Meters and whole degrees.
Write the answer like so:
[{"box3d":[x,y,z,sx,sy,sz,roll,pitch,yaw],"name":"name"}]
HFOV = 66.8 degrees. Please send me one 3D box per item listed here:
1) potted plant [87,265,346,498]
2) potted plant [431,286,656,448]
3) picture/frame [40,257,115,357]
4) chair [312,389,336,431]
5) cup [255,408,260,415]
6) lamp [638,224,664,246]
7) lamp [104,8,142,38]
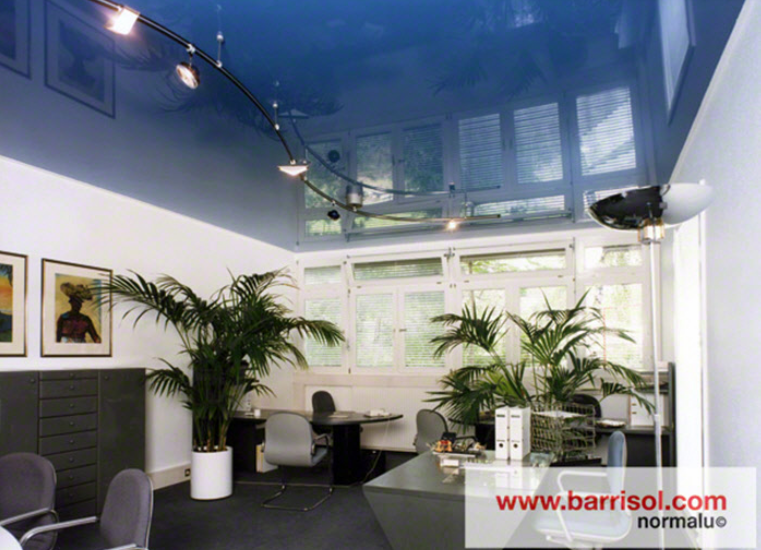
[{"box3d":[-1.795,0.856,7.253,2.984,3.042,2.400,3,-7,-27],"name":"potted plant"},{"box3d":[1.700,1.014,6.655,1.967,1.322,1.997,-5,-6,42],"name":"potted plant"},{"box3d":[-3.255,0.333,6.127,0.046,1.298,0.995,-5,-7,25],"name":"picture/frame"},{"box3d":[-0.746,1.824,7.993,0.404,0.588,0.404,6,-15,-31],"name":"chair"},{"box3d":[-1.602,1.774,7.507,0.055,0.074,0.076,-3,-4,9],"name":"cup"},{"box3d":[1.861,-0.284,4.040,0.165,0.173,0.125,1,-9,6],"name":"lamp"},{"box3d":[-1.783,-1.760,3.991,0.260,0.183,0.179,-1,-2,12],"name":"lamp"}]
